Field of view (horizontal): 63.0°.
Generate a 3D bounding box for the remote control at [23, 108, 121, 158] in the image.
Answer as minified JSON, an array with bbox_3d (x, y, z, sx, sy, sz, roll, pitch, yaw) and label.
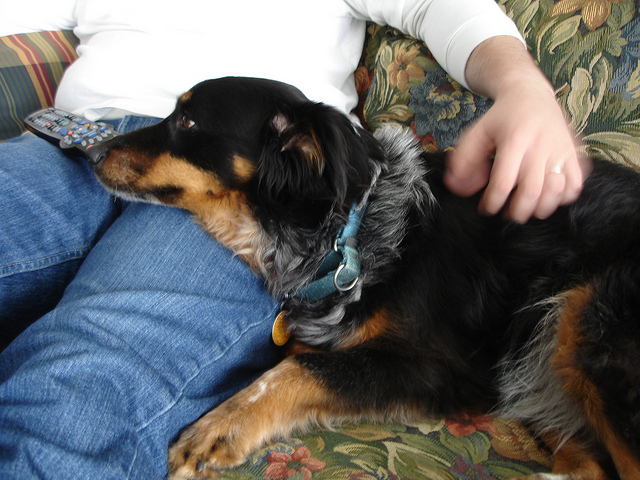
[{"bbox_3d":[-1.240,-0.530,2.526,0.410,0.072,0.259,29,46,17],"label":"remote control"}]
